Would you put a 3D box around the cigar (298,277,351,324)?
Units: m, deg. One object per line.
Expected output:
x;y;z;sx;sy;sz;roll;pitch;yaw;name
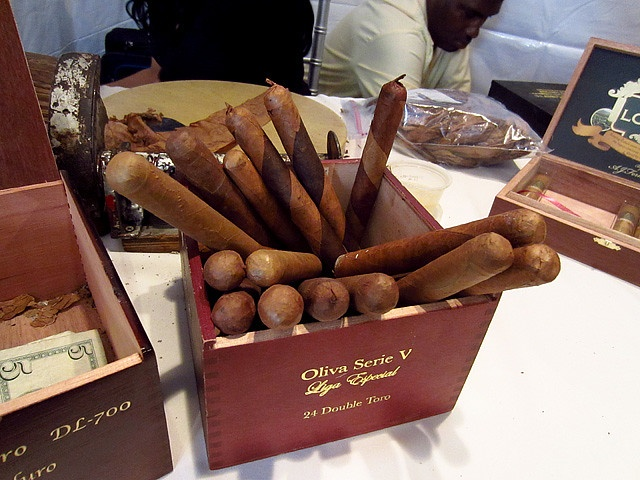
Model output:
0.008;0.103;0.979;0.078;0.080;0.172;-11;4;-6;cigar

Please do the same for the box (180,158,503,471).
-0.016;0.217;1.113;0.585;0.361;0.549;-10;43;-20;box

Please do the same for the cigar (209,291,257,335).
-0.153;0.126;0.953;0.057;0.061;0.079;9;7;21;cigar

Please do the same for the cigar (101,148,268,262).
-0.262;-0.068;1.048;0.080;0.438;0.077;29;83;49;cigar

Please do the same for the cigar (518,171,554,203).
0.658;-0.142;1.647;0.103;0.107;0.104;-3;35;15;cigar

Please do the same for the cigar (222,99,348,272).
-0.042;-0.031;1.137;0.140;0.520;0.120;-40;35;-27;cigar

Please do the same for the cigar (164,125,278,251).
-0.129;-0.072;1.081;0.072;0.403;0.065;-28;38;28;cigar

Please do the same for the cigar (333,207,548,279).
0.208;0.009;0.989;0.333;0.062;0.063;-19;23;40;cigar

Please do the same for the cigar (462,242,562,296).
0.299;0.043;0.883;0.182;0.057;0.045;5;37;-3;cigar
